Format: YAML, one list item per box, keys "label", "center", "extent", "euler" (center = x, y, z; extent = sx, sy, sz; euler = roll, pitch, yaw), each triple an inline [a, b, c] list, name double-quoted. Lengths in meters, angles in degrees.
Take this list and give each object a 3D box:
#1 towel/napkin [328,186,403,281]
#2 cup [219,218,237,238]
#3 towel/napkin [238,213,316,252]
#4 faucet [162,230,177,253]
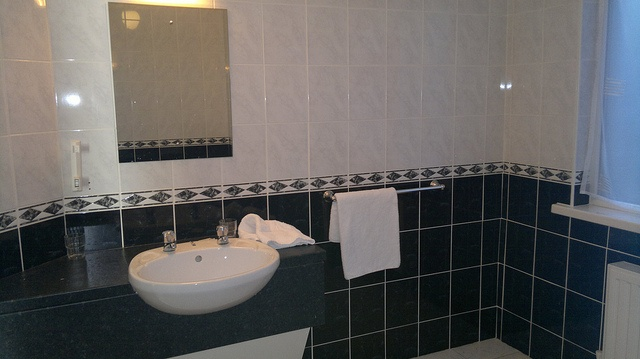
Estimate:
- label: "towel/napkin"
  center: [0.327, 0.406, 3.695]
  extent: [0.767, 0.685, 0.241]
  euler: [-4, 16, -21]
- label: "cup"
  center: [-0.640, 0.345, 3.398]
  extent: [0.139, 0.139, 0.136]
  euler: [0, 2, 0]
- label: "towel/napkin"
  center: [-0.330, 0.388, 3.436]
  extent: [0.345, 0.101, 0.333]
  euler: [-4, 13, -35]
- label: "faucet"
  center: [-1.021, 0.423, 3.216]
  extent: [0.131, 0.159, 0.123]
  euler: [0, -4, -4]
